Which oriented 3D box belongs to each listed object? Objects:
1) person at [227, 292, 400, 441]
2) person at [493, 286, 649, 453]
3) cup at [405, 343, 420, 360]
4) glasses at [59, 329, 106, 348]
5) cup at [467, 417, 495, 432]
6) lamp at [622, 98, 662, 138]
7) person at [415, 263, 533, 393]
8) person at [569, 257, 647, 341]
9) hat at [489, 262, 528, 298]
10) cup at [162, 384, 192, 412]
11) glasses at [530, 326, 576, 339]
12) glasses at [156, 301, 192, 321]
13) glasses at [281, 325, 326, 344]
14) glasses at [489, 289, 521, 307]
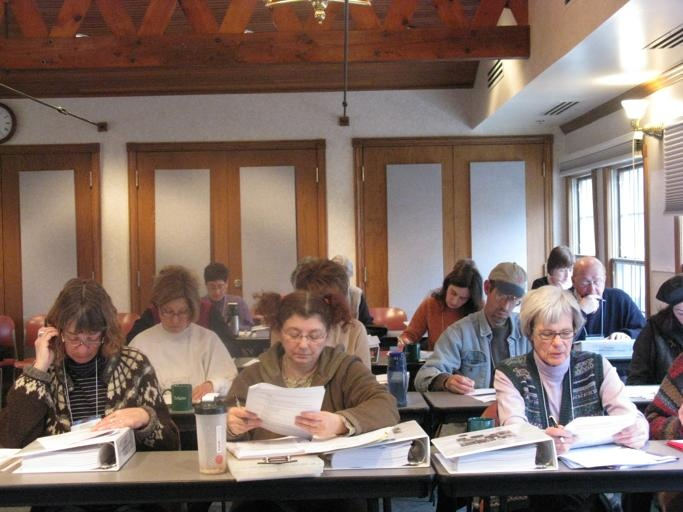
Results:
[{"bbox_3d":[-0.202,0.552,3.527,0.701,0.725,0.794,-1,-9,-6],"label":"person"},{"bbox_3d":[1.084,0.612,3.452,0.624,0.878,0.791,-4,3,-14],"label":"person"},{"bbox_3d":[0.506,0.676,4.954,0.111,0.121,0.113,0,-4,0],"label":"cup"},{"bbox_3d":[-1.307,0.410,3.477,0.182,0.083,0.076,-4,1,-22],"label":"glasses"},{"bbox_3d":[0.677,0.813,3.405,0.098,0.075,0.075,0,-1,-2],"label":"cup"},{"bbox_3d":[2.439,-1.123,5.704,0.369,0.373,0.241,2,3,10],"label":"lamp"},{"bbox_3d":[0.875,0.495,4.626,0.753,1.015,0.544,7,3,-12],"label":"person"},{"bbox_3d":[2.096,0.344,5.457,0.518,0.730,0.404,-7,0,24],"label":"person"},{"bbox_3d":[1.077,0.138,4.518,0.176,0.158,0.252,20,8,-23],"label":"hat"},{"bbox_3d":[-0.986,0.824,4.087,0.203,0.178,0.116,0,1,1],"label":"cup"},{"bbox_3d":[1.065,0.389,3.475,0.185,0.046,0.043,-4,1,14],"label":"glasses"},{"bbox_3d":[-1.032,0.355,4.320,0.117,0.156,0.075,2,42,-7],"label":"glasses"},{"bbox_3d":[-0.180,0.378,3.393,0.224,0.075,0.083,-4,1,-7],"label":"glasses"},{"bbox_3d":[1.030,0.269,4.455,0.129,0.038,0.134,23,6,-41],"label":"glasses"}]
